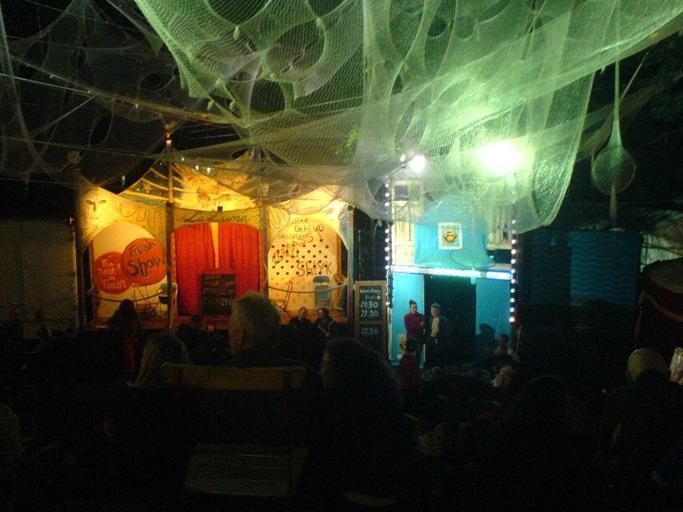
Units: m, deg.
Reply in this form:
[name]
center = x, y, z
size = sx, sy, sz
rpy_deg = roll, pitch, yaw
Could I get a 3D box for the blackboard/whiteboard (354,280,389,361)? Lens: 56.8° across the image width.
[blackboard/whiteboard]
center = 0.369, 0.804, 7.745
size = 0.417, 1.035, 0.094
rpy_deg = -2, -17, 13

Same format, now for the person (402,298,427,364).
[person]
center = 0.851, 0.875, 7.194
size = 0.242, 0.762, 0.240
rpy_deg = -1, 25, 12
